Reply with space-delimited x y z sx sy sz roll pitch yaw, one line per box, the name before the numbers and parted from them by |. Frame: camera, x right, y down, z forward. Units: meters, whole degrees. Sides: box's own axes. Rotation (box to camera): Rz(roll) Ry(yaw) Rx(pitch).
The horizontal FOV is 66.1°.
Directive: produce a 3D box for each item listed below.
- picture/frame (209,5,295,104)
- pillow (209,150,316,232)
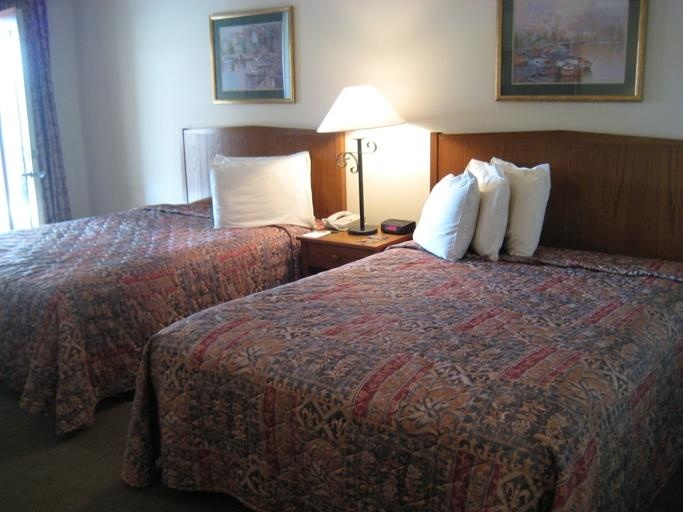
picture/frame | -0.733 -1.739 4.489 0.859 0.726 0.040 7 15 31
pillow | -0.594 -0.484 4.095 0.646 0.547 0.256 -1 0 3
